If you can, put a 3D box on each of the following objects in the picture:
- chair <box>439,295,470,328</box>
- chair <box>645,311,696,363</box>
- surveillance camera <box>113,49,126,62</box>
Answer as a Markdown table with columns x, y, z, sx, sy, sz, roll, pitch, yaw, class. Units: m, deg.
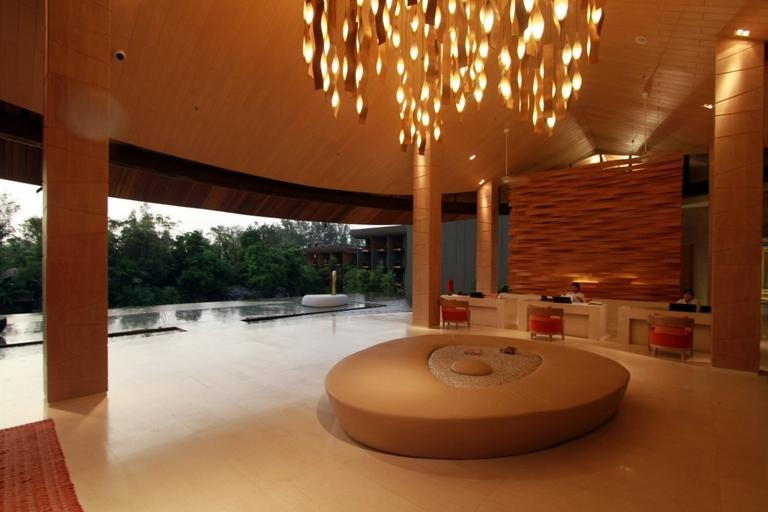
| x | y | z | sx | sy | sz | roll | pitch | yaw | class |
| --- | --- | --- | --- | --- | --- | --- | --- | --- | --- |
| 1.786 | 1.433 | 11.641 | 0.729 | 0.844 | 0.765 | 3 | 11 | 14 | chair |
| 5.526 | 1.537 | 9.000 | 0.836 | 0.962 | 0.900 | 1 | 2 | 33 | chair |
| -4.775 | -3.647 | 8.260 | 0.184 | 0.157 | 0.193 | -6 | 13 | -29 | surveillance camera |
